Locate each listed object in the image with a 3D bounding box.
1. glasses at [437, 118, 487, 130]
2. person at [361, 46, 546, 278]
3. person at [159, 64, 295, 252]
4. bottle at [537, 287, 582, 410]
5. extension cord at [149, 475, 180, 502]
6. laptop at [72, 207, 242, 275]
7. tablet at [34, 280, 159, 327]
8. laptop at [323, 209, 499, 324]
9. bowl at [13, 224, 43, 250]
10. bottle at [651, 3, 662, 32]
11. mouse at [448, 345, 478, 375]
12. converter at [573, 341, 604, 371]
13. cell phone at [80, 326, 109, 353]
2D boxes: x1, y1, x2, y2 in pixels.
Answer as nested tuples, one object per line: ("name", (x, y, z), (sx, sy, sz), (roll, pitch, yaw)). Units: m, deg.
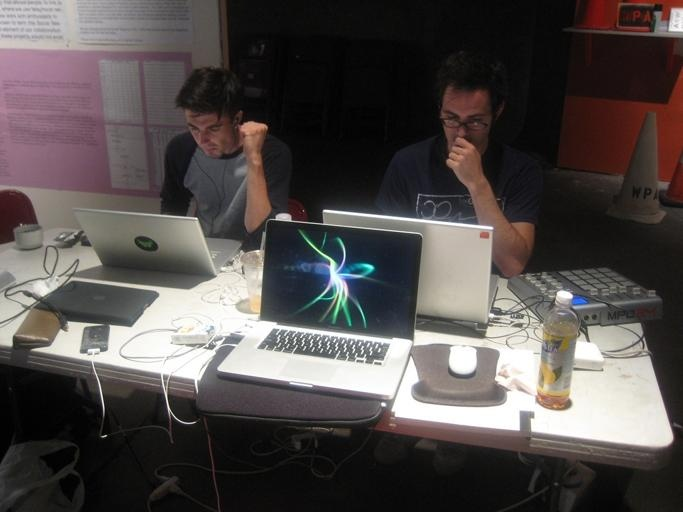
("glasses", (0.542, -0.585, 2.320), (0.212, 0.051, 0.064), (7, 26, 9))
("person", (0.513, -0.310, 2.524), (0.861, 1.177, 0.775), (11, 34, 25))
("person", (-0.683, -0.443, 2.900), (0.798, 1.001, 0.620), (7, 25, 11))
("bottle", (0.694, 0.280, 1.666), (0.126, 0.332, 0.223), (13, 28, 22))
("extension cord", (-0.767, 1.010, 2.295), (0.089, 0.034, 0.095), (-1, 11, 27))
("laptop", (-0.805, -0.155, 2.268), (0.450, 0.266, 0.369), (3, 23, 12))
("tablet", (-0.967, 0.179, 2.105), (0.388, 0.026, 0.235), (8, 27, 5))
("laptop", (0.366, 0.020, 2.113), (0.587, 0.423, 0.432), (5, 22, 19))
("bowl", (-1.544, -0.113, 2.629), (0.126, 0.097, 0.127), (4, 14, -1))
("bottle", (1.687, -1.276, 2.818), (0.066, 0.133, 0.181), (15, 29, 25))
("mouse", (0.409, 0.344, 1.769), (0.095, 0.073, 0.099), (10, 27, 15))
("converter", (0.841, 0.344, 1.807), (0.107, 0.026, 0.115), (3, 39, 14))
("cell phone", (-0.887, 0.302, 1.895), (0.100, 0.014, 0.138), (-2, 34, -9))
